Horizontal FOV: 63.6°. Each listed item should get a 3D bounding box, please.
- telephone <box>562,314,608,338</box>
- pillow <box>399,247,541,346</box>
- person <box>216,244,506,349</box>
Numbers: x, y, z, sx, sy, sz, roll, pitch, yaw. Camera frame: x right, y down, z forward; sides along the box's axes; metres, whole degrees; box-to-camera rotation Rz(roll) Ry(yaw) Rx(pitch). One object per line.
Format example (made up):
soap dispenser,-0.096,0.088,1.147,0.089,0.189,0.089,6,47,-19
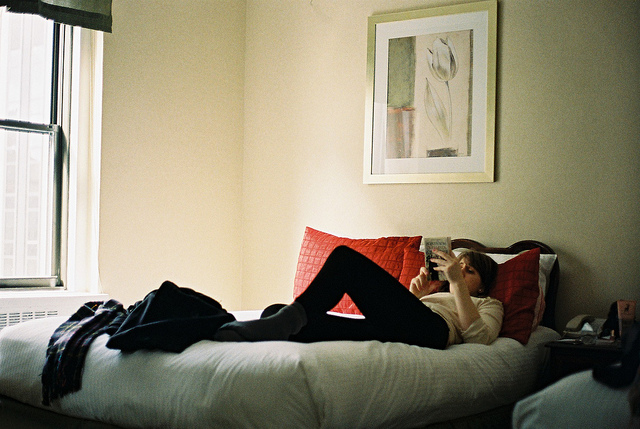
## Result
telephone,1.654,0.699,3.254,0.172,0.084,0.237,-3,-1,44
pillow,1.105,0.495,3.403,0.718,0.584,0.842,4,1,-31
person,0.276,0.493,2.988,1.558,0.588,0.648,5,-32,-14
